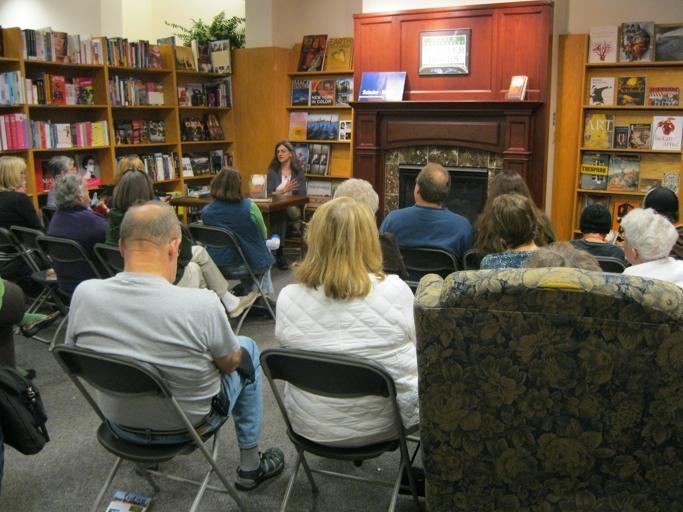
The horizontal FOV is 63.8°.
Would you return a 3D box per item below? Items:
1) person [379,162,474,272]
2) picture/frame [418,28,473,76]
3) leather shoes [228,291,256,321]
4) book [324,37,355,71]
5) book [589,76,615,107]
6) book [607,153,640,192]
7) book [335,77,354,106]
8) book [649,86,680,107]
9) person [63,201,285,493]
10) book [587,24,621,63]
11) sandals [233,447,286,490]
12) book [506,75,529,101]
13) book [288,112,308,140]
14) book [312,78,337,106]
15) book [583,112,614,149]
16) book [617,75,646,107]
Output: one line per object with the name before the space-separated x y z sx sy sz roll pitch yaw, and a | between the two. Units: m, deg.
person | 0.589 -0.290 3.828 0.830 0.914 0.556 2 21 7
picture/frame | 1.152 -2.236 5.981 0.500 0.457 0.041 5 8 28
leather shoes | -0.775 0.381 4.337 0.098 0.121 0.300 3 35 38
book | -0.038 -2.634 7.212 0.428 0.433 0.221 4 16 21
book | 2.765 -1.732 5.798 0.313 0.403 0.033 3 9 29
book | 3.029 -0.903 5.860 0.361 0.480 0.063 3 7 28
book | 0.026 -2.135 7.144 0.247 0.348 0.178 2 16 17
book | 3.292 -1.616 5.592 0.293 0.196 0.119 8 18 32
person | -0.736 0.467 2.551 0.847 1.412 1.028 0 11 -6
book | 2.721 -2.178 5.683 0.275 0.366 0.096 6 17 27
sandals | -0.393 1.025 2.709 0.132 0.147 0.311 11 19 33
book | 1.792 -1.696 5.582 0.199 0.292 0.080 7 -9 42
book | -0.594 -1.795 7.557 0.345 0.509 0.051 6 11 29
book | -0.222 -2.174 7.300 0.401 0.390 0.056 0 -2 33
book | 2.763 -1.329 5.882 0.304 0.352 0.108 6 17 28
book | 3.031 -1.711 5.698 0.306 0.392 0.051 3 3 32
